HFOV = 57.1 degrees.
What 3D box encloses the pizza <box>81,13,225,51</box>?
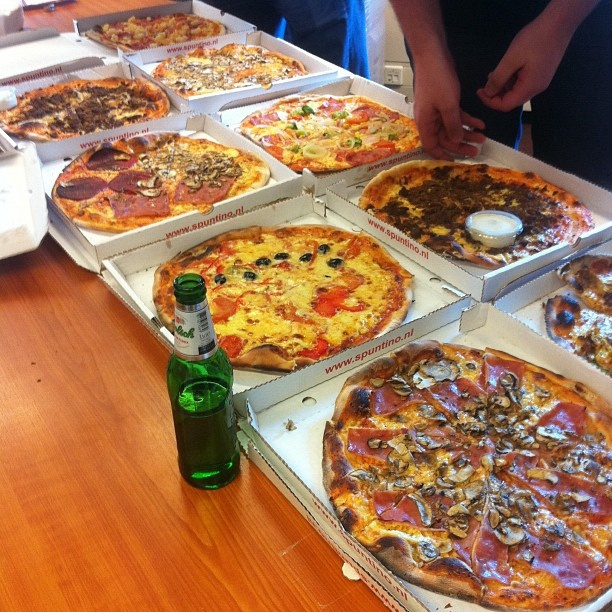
[{"bbox_3d":[-1.212,-2.205,4.515,0.967,0.092,0.618,-18,39,-26],"label":"pizza"}]
